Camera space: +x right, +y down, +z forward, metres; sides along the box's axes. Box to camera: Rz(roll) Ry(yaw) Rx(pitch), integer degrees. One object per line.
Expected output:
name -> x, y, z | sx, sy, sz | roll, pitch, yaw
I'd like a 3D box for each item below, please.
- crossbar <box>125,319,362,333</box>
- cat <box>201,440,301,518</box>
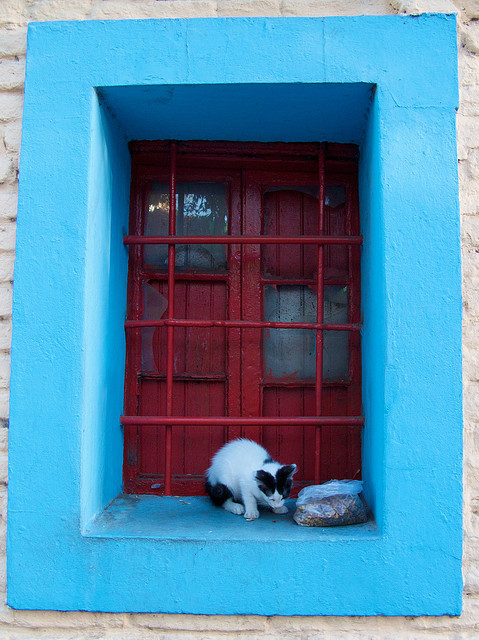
crossbar -> 0.016, 0.026, 3.709 | 1.080, 0.054, 0.200 | 0, -7, 0
cat -> 0.051, 0.708, 3.678 | 0.314, 0.327, 0.489 | 5, -8, -34
